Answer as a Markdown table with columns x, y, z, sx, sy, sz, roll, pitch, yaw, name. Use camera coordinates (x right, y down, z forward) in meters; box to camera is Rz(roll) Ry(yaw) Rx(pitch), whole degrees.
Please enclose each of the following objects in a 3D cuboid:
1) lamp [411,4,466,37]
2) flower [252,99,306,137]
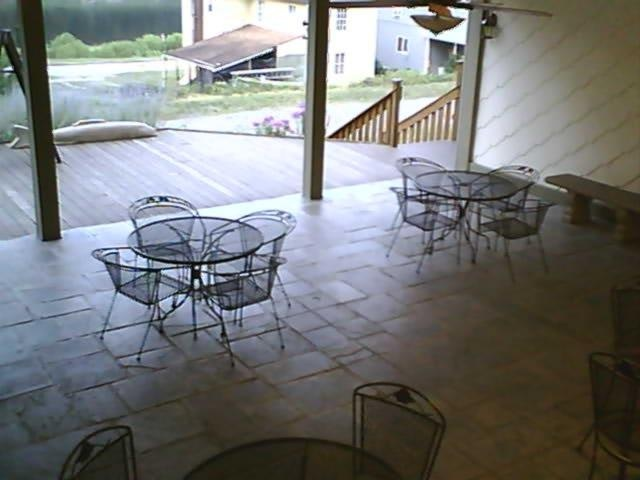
| x | y | z | sx | sy | sz | roll | pitch | yaw | name |
| --- | --- | --- | --- | --- | --- | --- | --- | --- | --- |
| 0.948 | -1.942 | 4.470 | 0.545 | 0.320 | 0.185 | 0 | 61 | 3 | lamp |
| -1.161 | -3.354 | 14.424 | 1.435 | 0.896 | 0.455 | -14 | 28 | -32 | flower |
